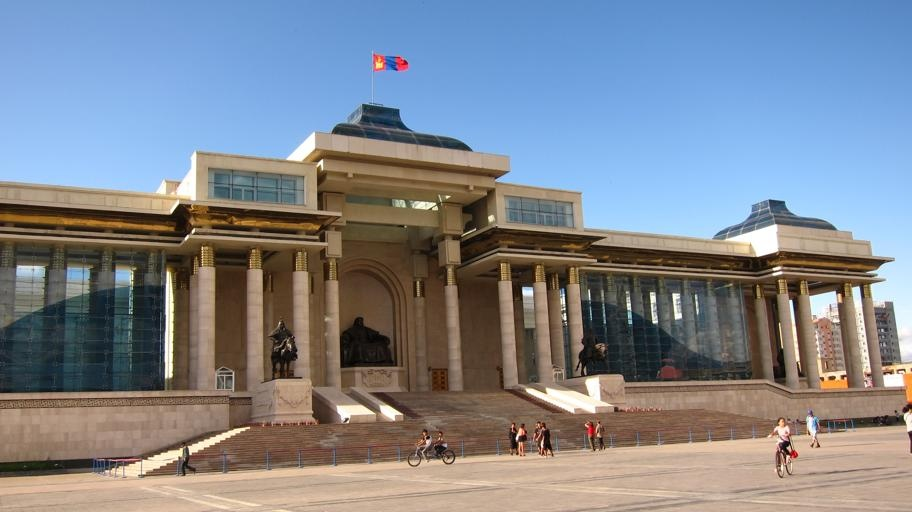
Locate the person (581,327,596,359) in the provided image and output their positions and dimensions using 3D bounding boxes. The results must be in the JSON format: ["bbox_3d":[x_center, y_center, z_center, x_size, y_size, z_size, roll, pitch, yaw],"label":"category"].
[{"bbox_3d":[10.459,6.981,65.656,1.065,2.389,1.233,-1,-13,-4],"label":"person"}]

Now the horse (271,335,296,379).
[{"bbox_3d":[-12.223,7.260,58.881,1.661,2.965,4.484,1,-11,-12],"label":"horse"}]

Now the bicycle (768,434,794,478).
[{"bbox_3d":[15.535,9.599,39.004,0.813,1.611,1.530,-8,-13,23],"label":"bicycle"}]

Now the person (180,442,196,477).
[{"bbox_3d":[-15.544,11.821,47.724,0.763,1.603,1.504,-2,-11,1],"label":"person"}]

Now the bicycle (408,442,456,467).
[{"bbox_3d":[-1.410,11.834,48.852,3.304,1.254,1.334,1,-9,-11],"label":"bicycle"}]
